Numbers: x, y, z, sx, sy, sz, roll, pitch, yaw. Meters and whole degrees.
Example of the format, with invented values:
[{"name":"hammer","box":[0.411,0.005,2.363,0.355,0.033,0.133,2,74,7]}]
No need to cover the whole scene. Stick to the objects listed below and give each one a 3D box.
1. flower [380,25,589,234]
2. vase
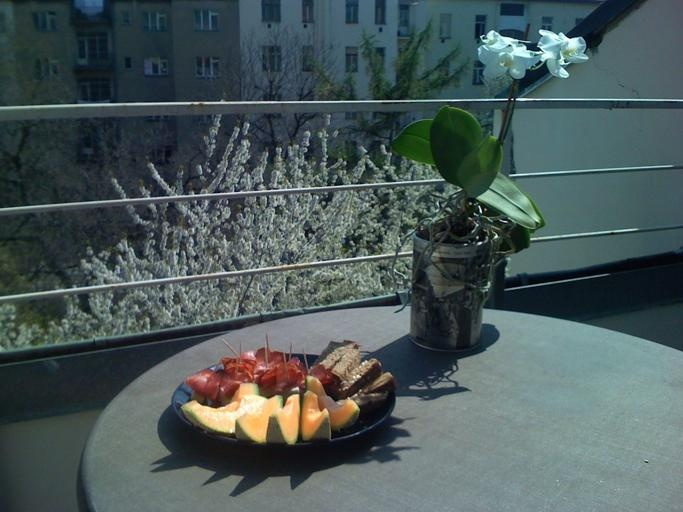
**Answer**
[{"name":"flower","box":[0.234,-0.194,0.845,0.251,0.312,0.235,-8,20,-24]},{"name":"vase","box":[0.159,0.031,0.810,0.104,0.192,0.115,-2,10,-14]}]
